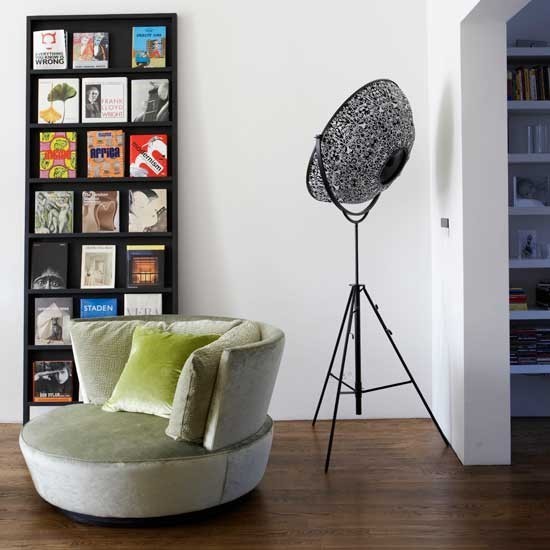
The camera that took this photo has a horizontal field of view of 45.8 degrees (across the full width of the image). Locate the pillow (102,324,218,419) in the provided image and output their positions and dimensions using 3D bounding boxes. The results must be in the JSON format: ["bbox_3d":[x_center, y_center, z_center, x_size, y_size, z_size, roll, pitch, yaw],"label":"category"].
[{"bbox_3d":[-0.599,0.482,3.265,0.427,0.466,0.138,2,-21,32],"label":"pillow"}]

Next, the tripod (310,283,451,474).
[{"bbox_3d":[0.503,0.557,3.978,0.946,1.306,0.832,-4,-8,27],"label":"tripod"}]

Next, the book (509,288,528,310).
[{"bbox_3d":[1.562,0.149,4.180,0.099,0.122,0.199,2,9,18],"label":"book"}]

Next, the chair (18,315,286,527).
[{"bbox_3d":[-0.665,0.696,3.400,1.177,0.953,1.186,2,-1,31],"label":"chair"}]

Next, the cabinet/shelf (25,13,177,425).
[{"bbox_3d":[-1.173,-0.576,4.220,0.857,2.627,0.239,0,-23,-16],"label":"cabinet/shelf"}]

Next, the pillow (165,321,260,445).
[{"bbox_3d":[-0.244,0.495,3.039,0.132,0.509,0.463,13,-7,-21],"label":"pillow"}]
